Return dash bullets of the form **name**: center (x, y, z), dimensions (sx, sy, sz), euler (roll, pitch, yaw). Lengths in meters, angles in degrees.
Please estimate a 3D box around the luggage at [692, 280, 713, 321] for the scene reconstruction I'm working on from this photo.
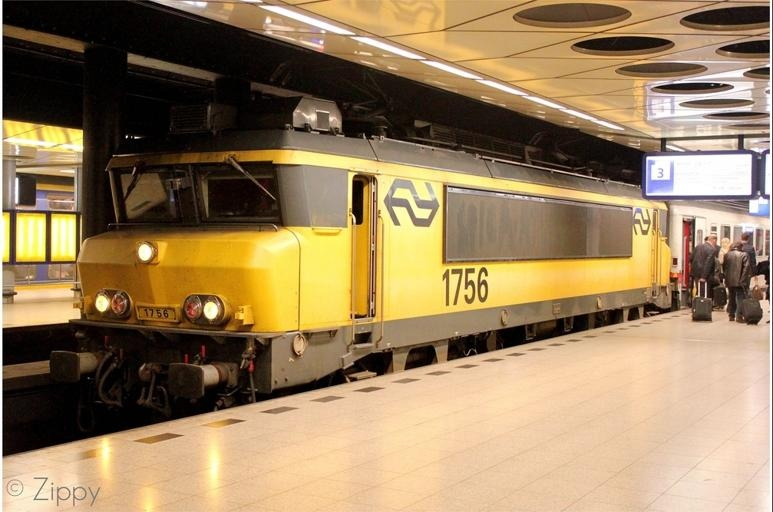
- **luggage**: center (9.015, 1.267, 16.844), dimensions (0.537, 1.281, 0.438), euler (7, -17, 13)

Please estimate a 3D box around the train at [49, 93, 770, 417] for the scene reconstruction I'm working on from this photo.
- **train**: center (3.453, -0.055, 17.267), dimensions (5.315, 6.253, 23.045), euler (2, 4, 35)
